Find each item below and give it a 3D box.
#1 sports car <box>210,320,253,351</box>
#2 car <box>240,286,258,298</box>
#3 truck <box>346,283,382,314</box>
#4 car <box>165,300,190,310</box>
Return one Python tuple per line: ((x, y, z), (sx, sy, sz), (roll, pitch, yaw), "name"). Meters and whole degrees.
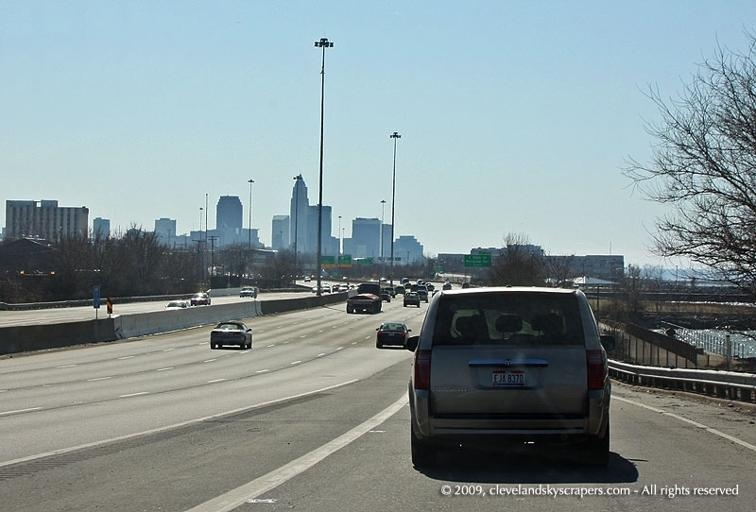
((-7.648, 4.025, 43.333), (2.272, 1.269, 2.020), (1, -2, -20), "sports car")
((-17.650, 4.780, 115.323), (1.337, 1.108, 3.133), (-1, -6, 0), "car")
((-1.096, 4.319, 78.156), (1.946, 1.844, 3.665), (2, 4, 15), "truck")
((-17.571, 4.146, 73.097), (1.484, 1.025, 2.872), (-2, -9, 4), "car")
